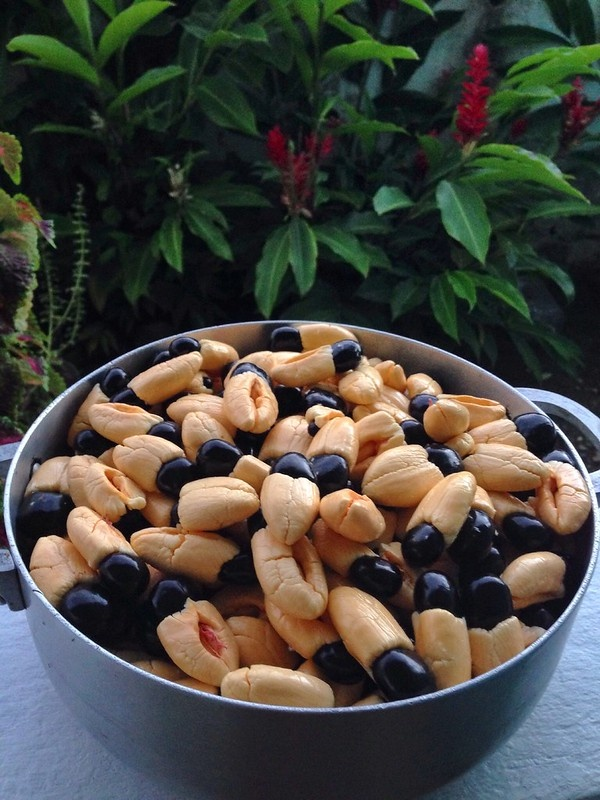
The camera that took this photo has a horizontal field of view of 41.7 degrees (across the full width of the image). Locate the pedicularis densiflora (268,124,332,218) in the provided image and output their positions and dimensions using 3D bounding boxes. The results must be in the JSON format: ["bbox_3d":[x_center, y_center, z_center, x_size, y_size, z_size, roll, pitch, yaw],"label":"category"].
[{"bbox_3d":[0.003,-0.293,1.016,0.077,0.142,0.155,-2,34,1],"label":"pedicularis densiflora"}]

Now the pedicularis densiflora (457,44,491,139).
[{"bbox_3d":[0.200,-0.357,0.899,0.044,0.103,0.044,-1,15,-5],"label":"pedicularis densiflora"}]
